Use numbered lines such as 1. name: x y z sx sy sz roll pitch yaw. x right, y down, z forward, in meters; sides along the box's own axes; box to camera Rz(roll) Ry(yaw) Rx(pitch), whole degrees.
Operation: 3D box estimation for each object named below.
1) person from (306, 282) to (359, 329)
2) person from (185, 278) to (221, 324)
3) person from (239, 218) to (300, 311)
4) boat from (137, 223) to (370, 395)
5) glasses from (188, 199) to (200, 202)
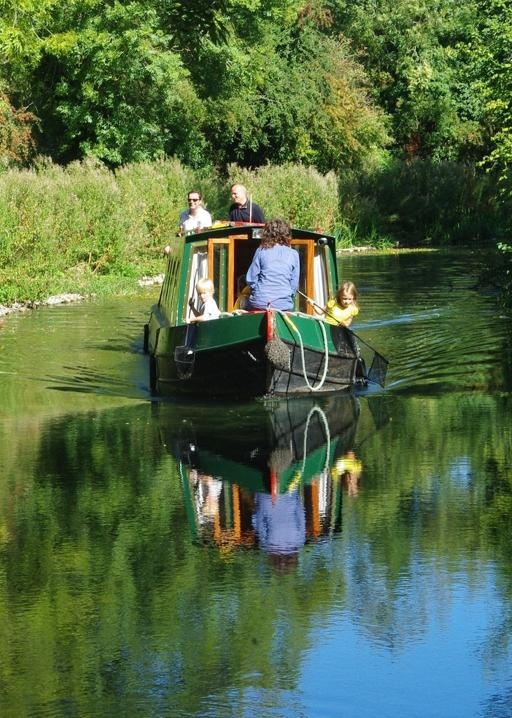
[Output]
1. person: 0.994 -0.756 12.933 0.354 0.446 1.044 10 -32 -25
2. person: -0.643 -0.772 12.140 0.389 0.521 0.917 -3 4 -4
3. person: 0.193 -1.143 11.506 0.613 1.073 0.337 -3 4 1
4. boat: 0.250 -0.836 13.246 2.199 1.794 4.164 -1 12 6
5. glasses: -0.897 -2.342 14.059 0.134 0.061 0.131 -3 4 -6
